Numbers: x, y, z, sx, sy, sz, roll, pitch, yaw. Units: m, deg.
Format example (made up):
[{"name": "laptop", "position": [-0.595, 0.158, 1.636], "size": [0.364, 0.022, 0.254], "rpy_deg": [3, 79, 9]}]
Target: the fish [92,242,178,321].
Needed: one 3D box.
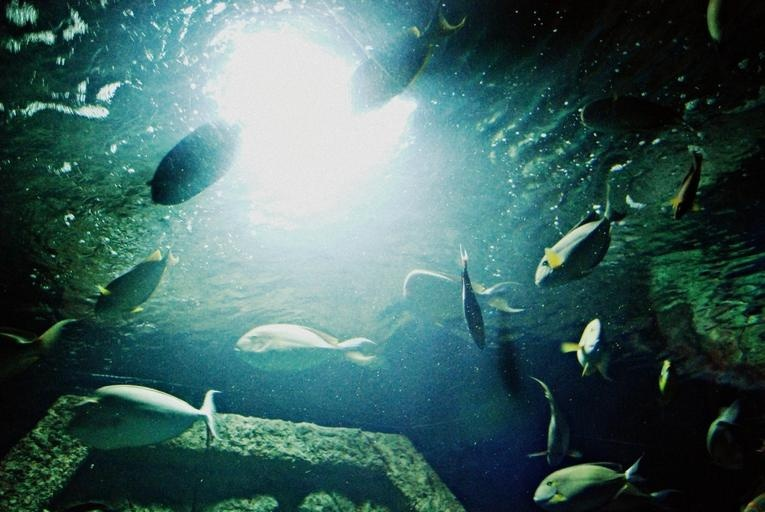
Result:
[{"name": "fish", "position": [-4.397, 0.459, 11.983], "size": [1.589, 0.859, 0.713], "rpy_deg": [-34, -87, 0]}]

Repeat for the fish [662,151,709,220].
[{"name": "fish", "position": [5.572, -1.369, 12.167], "size": [0.514, 0.565, 1.221], "rpy_deg": [10, -81, -38]}]
